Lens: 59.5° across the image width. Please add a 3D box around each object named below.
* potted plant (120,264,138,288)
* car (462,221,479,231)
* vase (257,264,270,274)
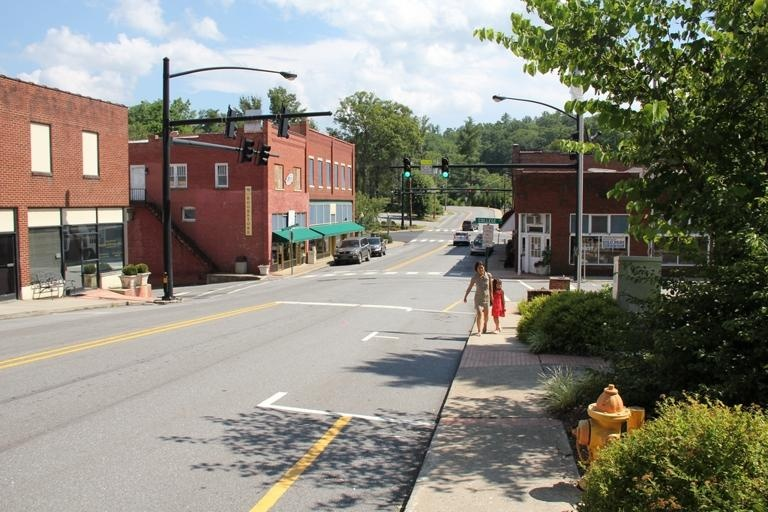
[{"bbox_3d":[-12.674,1.042,33.252,0.790,1.086,0.658,-3,6,-23],"label":"potted plant"},{"bbox_3d":[13.085,-4.539,102.944,1.809,1.454,4.040,1,5,18],"label":"car"},{"bbox_3d":[-8.148,0.912,45.768,0.665,0.517,0.578,-1,0,-29],"label":"vase"}]
